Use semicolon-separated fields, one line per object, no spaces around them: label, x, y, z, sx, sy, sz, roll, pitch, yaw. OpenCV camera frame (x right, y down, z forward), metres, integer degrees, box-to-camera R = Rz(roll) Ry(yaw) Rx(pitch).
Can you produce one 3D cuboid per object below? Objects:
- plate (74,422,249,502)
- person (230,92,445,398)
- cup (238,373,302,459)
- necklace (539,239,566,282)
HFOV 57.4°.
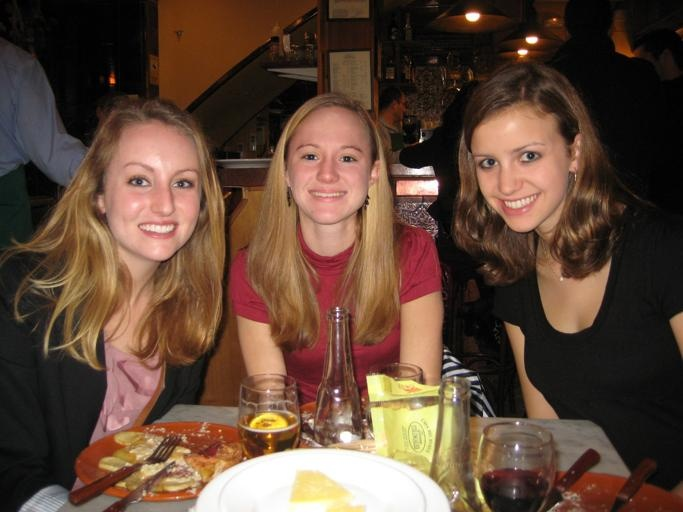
plate;-0.450;0.504;1.570;0.242;0.026;0.236;0;5;-42
person;-0.016;-0.028;2.237;0.760;1.078;0.422;2;13;6
cup;-0.178;0.417;1.565;0.153;0.199;0.175;-1;13;-5
necklace;0.758;0.018;2.212;0.045;0.127;0.095;-16;-6;-18
